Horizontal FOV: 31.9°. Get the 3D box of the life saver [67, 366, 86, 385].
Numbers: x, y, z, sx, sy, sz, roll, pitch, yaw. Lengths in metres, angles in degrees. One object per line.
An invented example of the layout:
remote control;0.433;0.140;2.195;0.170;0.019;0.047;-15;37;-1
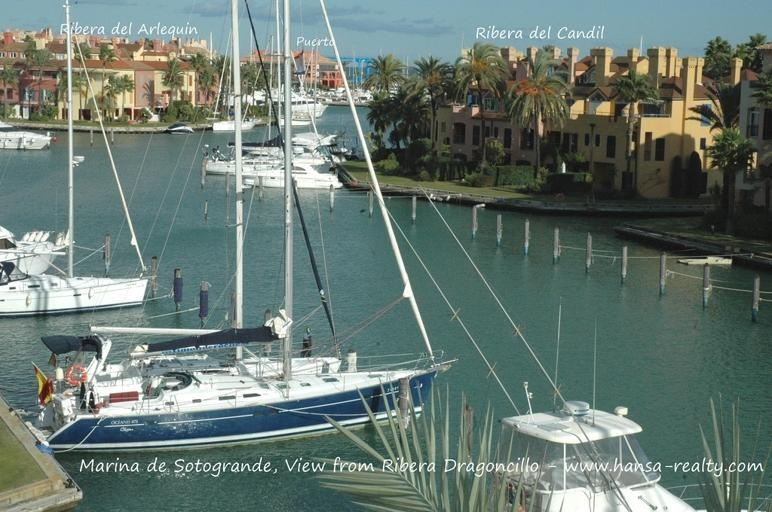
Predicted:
life saver;-16.108;6.136;70.430;0.961;0.979;0.382;6;-34;-7
